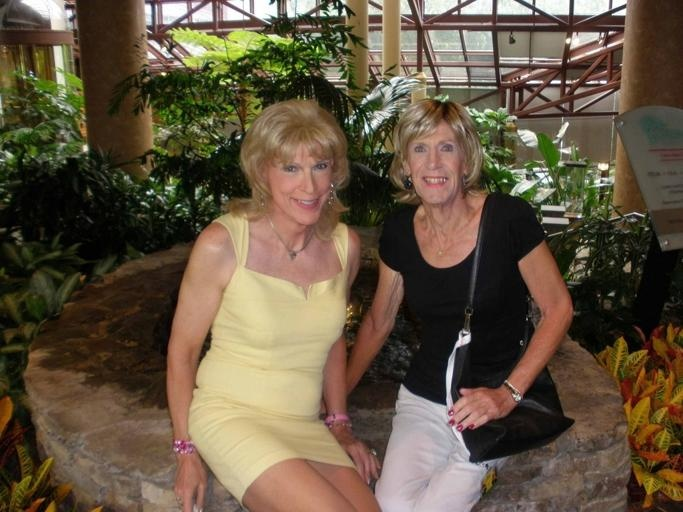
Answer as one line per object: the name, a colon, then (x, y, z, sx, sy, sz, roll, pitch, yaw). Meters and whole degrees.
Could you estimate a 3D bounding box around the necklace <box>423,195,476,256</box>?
necklace: (0.442, -0.118, 2.102, 0.241, 0.246, 0.075, 2, 3, 19)

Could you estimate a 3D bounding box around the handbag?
handbag: (0.626, 0.517, 1.983, 0.482, 0.489, 0.192, -1, -15, -14)

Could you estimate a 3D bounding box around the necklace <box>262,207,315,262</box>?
necklace: (-0.207, -0.080, 2.084, 0.158, 0.212, 0.053, -15, -17, -41)

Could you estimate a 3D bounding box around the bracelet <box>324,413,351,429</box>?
bracelet: (-0.007, 0.693, 2.153, 0.059, 0.041, 0.076, 11, -14, -41)

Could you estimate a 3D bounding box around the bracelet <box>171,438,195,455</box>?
bracelet: (-0.585, 0.705, 1.894, 0.064, 0.037, 0.050, 0, 1, -9)

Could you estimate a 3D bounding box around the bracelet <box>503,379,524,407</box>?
bracelet: (0.642, 0.516, 1.945, 0.056, 0.097, 0.094, -39, 59, -19)
